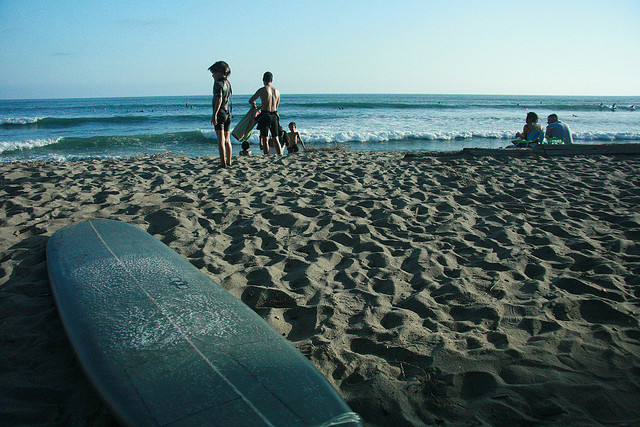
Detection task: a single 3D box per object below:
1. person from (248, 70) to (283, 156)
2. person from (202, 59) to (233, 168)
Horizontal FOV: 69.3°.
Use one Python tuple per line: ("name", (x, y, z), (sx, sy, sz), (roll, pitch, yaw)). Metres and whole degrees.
("person", (-0.907, -1.639, 7.846), (0.484, 1.437, 1.515), (-5, 18, -6))
("person", (-1.397, -1.404, 6.698), (0.321, 1.495, 0.668), (-8, 18, -12))
